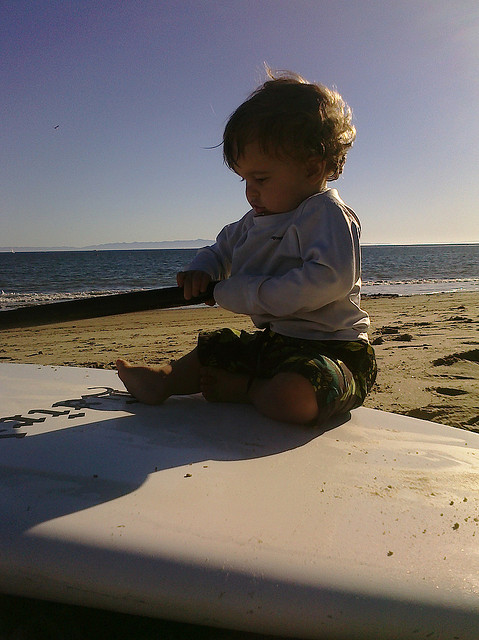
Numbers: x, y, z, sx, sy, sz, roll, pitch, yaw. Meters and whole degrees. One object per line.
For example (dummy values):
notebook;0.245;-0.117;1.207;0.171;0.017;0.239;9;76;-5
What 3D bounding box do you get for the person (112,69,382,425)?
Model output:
person;0.025;-0.207;1.728;0.799;0.979;0.643;2;7;33
